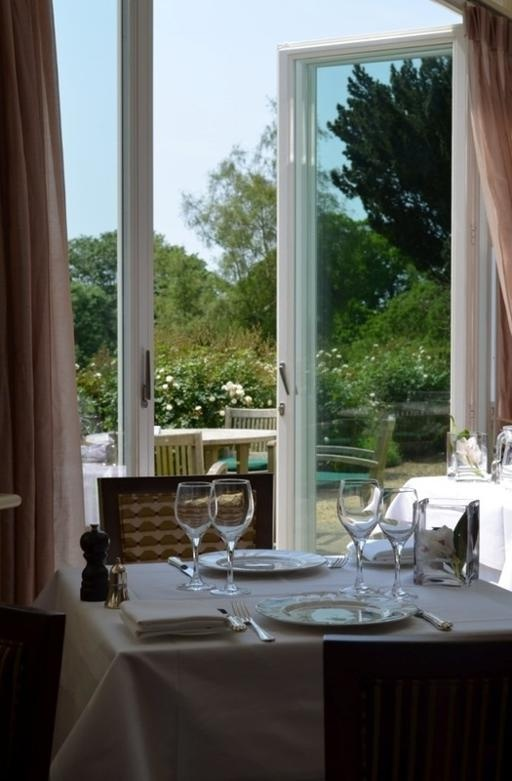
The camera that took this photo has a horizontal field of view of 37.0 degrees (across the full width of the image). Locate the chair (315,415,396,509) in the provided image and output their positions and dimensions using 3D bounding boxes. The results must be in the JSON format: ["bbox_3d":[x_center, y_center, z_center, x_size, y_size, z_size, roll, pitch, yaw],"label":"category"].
[{"bbox_3d":[0.413,0.291,3.392,0.312,0.459,0.308,4,-5,-4],"label":"chair"}]

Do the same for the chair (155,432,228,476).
[{"bbox_3d":[-0.394,0.329,3.943,0.243,0.239,0.343,-2,3,-6],"label":"chair"}]
